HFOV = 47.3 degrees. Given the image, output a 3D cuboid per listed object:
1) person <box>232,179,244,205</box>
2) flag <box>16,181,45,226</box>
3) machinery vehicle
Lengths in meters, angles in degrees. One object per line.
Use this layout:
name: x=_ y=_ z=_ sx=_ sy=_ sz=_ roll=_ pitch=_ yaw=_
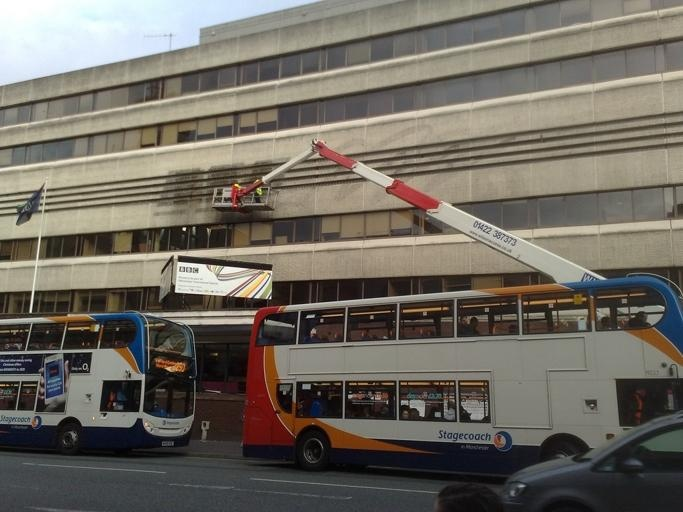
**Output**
person: x=-5.160 y=-2.987 z=38.128 sx=0.455 sy=0.927 sz=0.648 roll=3 pitch=16 yaw=-31
flag: x=-17.376 y=-2.965 z=43.394 sx=1.283 sy=2.547 sz=3.735 roll=7 pitch=-16 yaw=-23
machinery vehicle: x=2.537 y=-1.879 z=32.458 sx=20.025 sy=3.567 sz=3.048 roll=14 pitch=0 yaw=36
